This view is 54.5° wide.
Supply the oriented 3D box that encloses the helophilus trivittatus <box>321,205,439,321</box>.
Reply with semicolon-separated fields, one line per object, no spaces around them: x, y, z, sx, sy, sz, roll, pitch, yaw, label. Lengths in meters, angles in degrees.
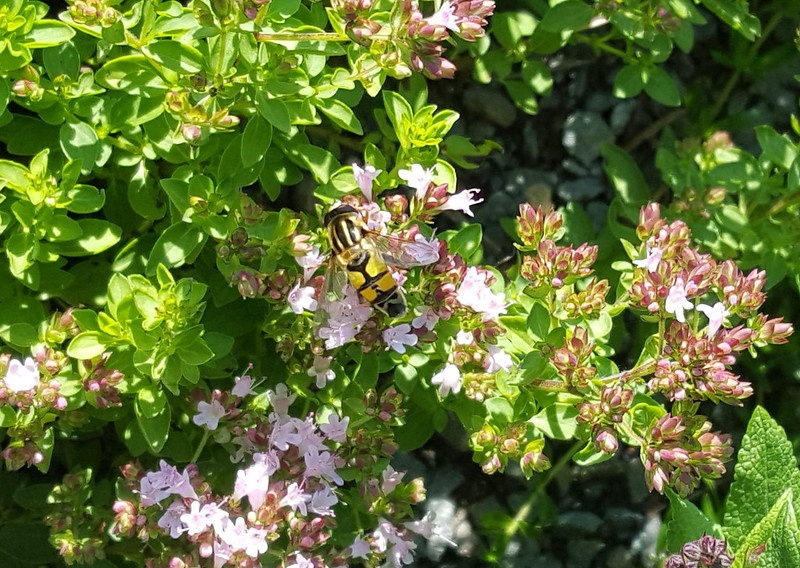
-0.093;-0.099;3.592;0.517;0.472;0.238;1;39;13;helophilus trivittatus
